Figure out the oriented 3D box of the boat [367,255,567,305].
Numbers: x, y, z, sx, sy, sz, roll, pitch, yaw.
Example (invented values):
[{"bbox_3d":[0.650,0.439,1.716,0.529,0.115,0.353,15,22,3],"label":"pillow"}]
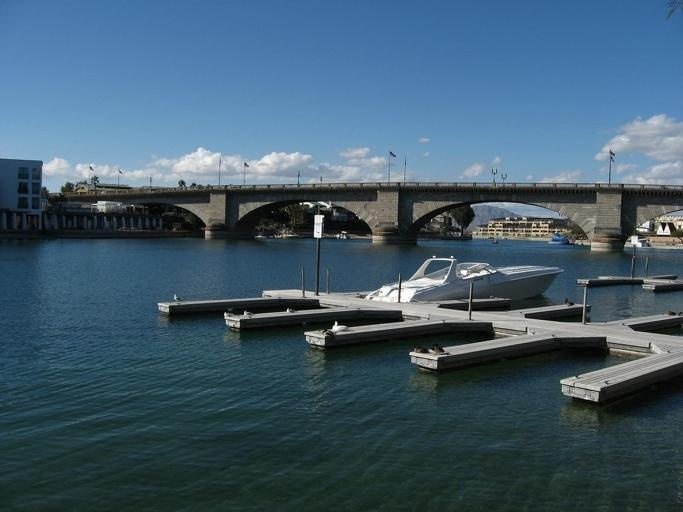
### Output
[{"bbox_3d":[7.835,1.514,35.617,14.103,2.220,3.345,-4,4,-32],"label":"boat"}]
